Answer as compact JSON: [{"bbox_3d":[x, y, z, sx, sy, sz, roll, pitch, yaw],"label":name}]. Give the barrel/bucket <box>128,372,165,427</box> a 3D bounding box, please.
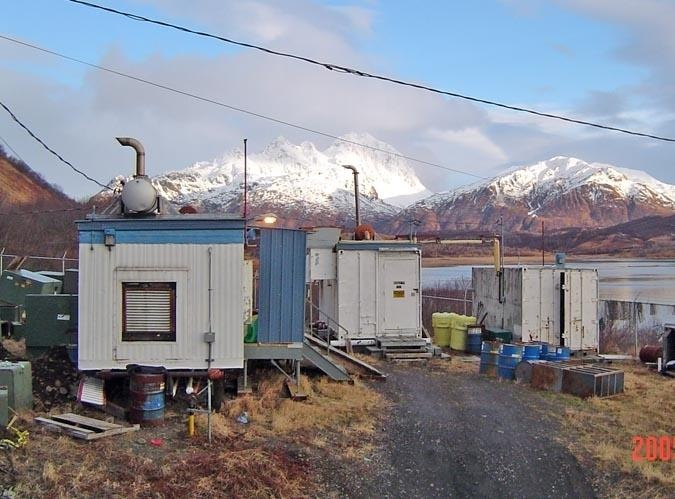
[{"bbox_3d":[-5.303,4.068,24.249,1.126,1.364,1.134,3,3,0],"label":"barrel/bucket"}]
